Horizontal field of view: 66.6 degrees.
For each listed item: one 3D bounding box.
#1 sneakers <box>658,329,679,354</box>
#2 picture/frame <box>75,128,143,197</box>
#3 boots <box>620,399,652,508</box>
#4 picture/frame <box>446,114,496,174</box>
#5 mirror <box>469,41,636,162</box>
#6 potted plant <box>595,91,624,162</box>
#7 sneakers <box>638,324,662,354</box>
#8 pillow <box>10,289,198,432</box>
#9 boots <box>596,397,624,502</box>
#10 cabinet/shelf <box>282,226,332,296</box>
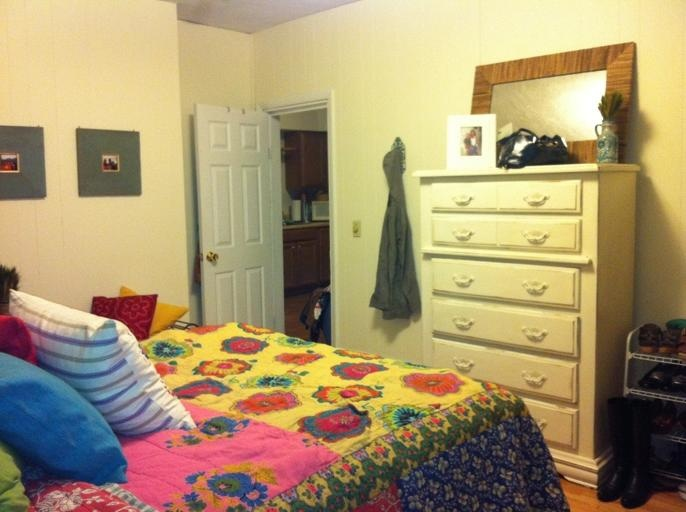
[{"bbox_3d":[1.710,0.454,2.741,0.043,0.131,0.077,24,-20,-40],"label":"sneakers"},{"bbox_3d":[-1.687,-0.665,3.700,0.495,0.541,0.052,-5,6,-40],"label":"picture/frame"},{"bbox_3d":[1.565,1.045,2.743,0.142,0.499,0.264,7,12,31],"label":"boots"},{"bbox_3d":[0.790,-0.678,3.185,0.385,0.467,0.035,-1,-6,14],"label":"picture/frame"},{"bbox_3d":[1.281,-0.903,3.104,0.824,0.613,0.037,4,-6,38],"label":"mirror"},{"bbox_3d":[1.465,-0.704,2.878,0.138,0.382,0.306,6,11,27],"label":"potted plant"},{"bbox_3d":[1.643,0.448,2.792,0.111,0.166,0.091,5,-20,38],"label":"sneakers"},{"bbox_3d":[-0.868,0.209,1.887,0.710,0.479,0.423,9,10,39],"label":"pillow"},{"bbox_3d":[1.471,1.040,2.815,0.126,0.497,0.280,6,11,29],"label":"boots"},{"bbox_3d":[-0.503,0.052,6.815,0.434,0.808,0.867,5,8,42],"label":"cabinet/shelf"}]
